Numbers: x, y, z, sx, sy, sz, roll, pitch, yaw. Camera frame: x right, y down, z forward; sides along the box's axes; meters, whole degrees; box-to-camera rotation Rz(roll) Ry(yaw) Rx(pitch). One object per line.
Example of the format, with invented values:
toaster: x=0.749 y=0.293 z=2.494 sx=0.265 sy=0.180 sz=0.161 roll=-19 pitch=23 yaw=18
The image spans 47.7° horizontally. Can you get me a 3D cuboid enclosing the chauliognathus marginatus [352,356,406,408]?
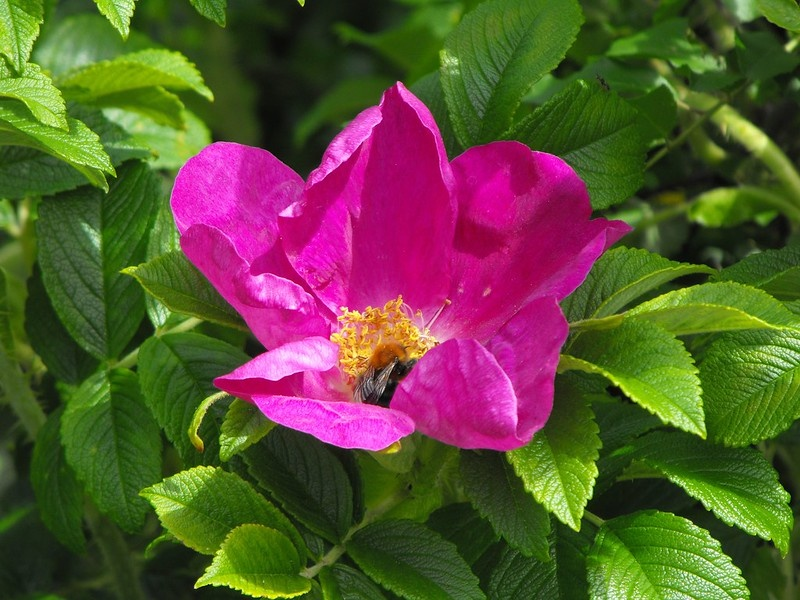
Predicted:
chauliognathus marginatus: x=-0.014 y=0.064 z=0.708 sx=0.012 sy=0.027 sz=0.037 roll=38 pitch=38 yaw=8

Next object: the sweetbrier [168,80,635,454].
sweetbrier: x=-0.017 y=-0.021 z=0.680 sx=0.313 sy=0.161 sz=0.266 roll=29 pitch=78 yaw=6
